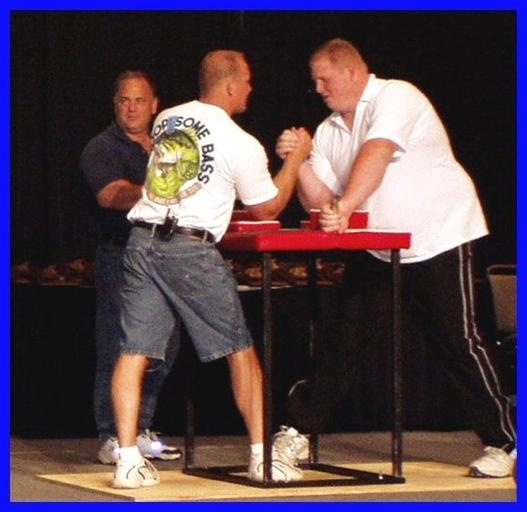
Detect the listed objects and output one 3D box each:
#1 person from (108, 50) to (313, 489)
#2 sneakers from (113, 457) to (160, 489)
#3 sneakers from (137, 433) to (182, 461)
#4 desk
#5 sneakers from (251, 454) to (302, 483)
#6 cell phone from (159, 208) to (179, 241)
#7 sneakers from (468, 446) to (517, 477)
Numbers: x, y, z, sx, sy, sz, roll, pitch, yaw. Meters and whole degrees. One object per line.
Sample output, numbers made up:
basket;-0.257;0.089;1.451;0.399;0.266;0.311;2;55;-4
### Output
person;-0.195;0.020;2.798;0.654;1.499;0.485;-1;7;-4
sneakers;-0.427;0.729;2.701;0.080;0.077;0.175;0;1;27
sneakers;-0.405;0.818;3.422;0.247;0.095;0.079;5;19;8
desk;0.000;0.373;2.852;1.035;0.948;0.968;1;-4;-2
sneakers;0.045;0.716;2.711;0.167;0.063;0.087;1;3;-7
cell phone;-0.324;-0.109;2.694;0.073;0.097;0.025;19;0;44
sneakers;0.876;0.750;3.002;0.226;0.081;0.131;6;-9;-43
